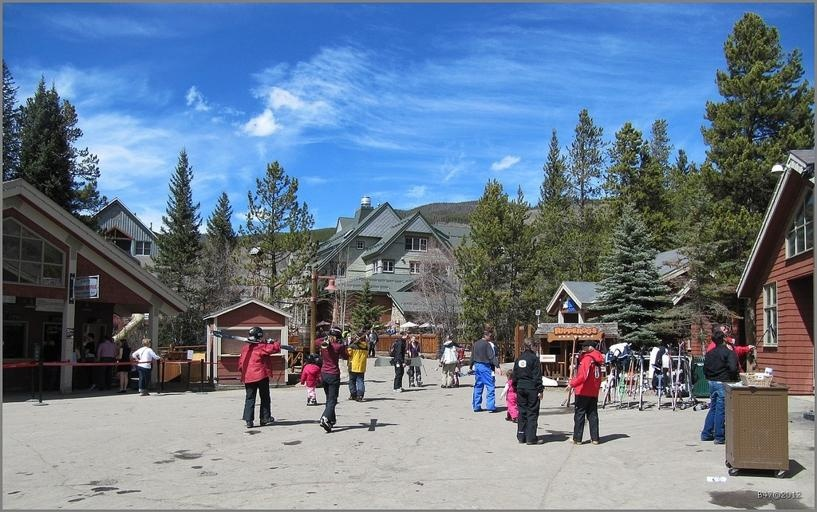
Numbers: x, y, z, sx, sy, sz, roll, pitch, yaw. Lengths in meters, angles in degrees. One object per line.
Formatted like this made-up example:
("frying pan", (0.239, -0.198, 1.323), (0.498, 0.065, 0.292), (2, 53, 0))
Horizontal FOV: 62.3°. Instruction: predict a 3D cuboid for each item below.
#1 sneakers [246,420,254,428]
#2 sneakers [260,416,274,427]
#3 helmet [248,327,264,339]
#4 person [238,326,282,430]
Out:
("sneakers", (-4.725, 5.026, 20.226), (0.221, 0.214, 0.153), (4, -9, -37))
("sneakers", (-4.329, 5.032, 20.600), (0.466, 0.200, 0.170), (-5, 11, -33))
("helmet", (-4.677, 2.266, 20.510), (0.388, 0.445, 0.398), (1, -20, 9))
("person", (-4.540, 3.648, 20.522), (1.079, 2.961, 1.033), (1, -10, -11))
